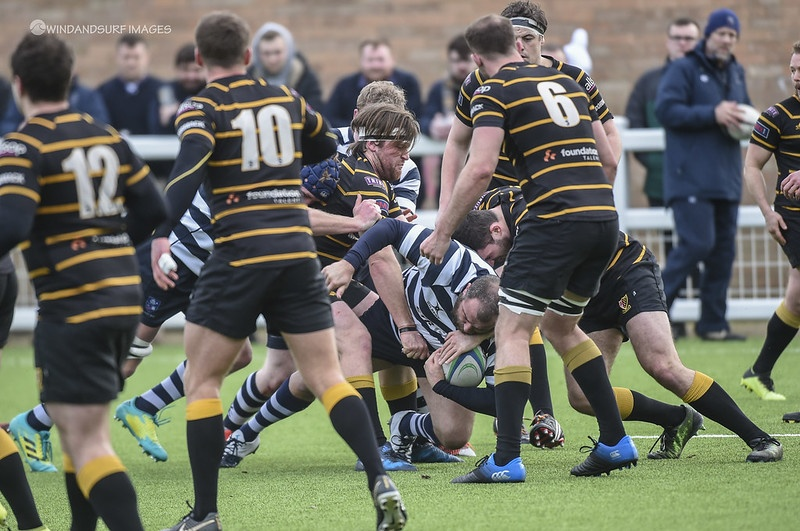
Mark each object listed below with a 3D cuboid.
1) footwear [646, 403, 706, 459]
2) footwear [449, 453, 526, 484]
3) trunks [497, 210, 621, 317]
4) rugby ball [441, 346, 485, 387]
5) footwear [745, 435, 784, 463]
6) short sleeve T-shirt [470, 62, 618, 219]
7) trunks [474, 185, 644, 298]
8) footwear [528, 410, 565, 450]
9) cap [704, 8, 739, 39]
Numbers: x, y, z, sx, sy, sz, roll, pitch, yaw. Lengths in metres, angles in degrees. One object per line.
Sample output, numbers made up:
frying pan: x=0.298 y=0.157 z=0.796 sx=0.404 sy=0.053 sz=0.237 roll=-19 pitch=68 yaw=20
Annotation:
footwear: x=1.764 y=1.067 z=7.349 sx=0.165 sy=0.338 sz=0.123 roll=40 pitch=4 yaw=-24
footwear: x=0.555 y=1.225 z=6.886 sx=0.490 sy=0.197 sz=0.166 roll=-2 pitch=-9 yaw=12
trunks: x=0.960 y=-0.001 z=6.845 sx=0.583 sy=0.500 sz=0.336 roll=6 pitch=12 yaw=-28
rugby ball: x=0.404 y=0.629 z=7.388 sx=0.245 sy=0.285 sz=0.247 roll=13 pitch=0 yaw=0
footwear: x=2.198 y=1.121 z=6.962 sx=0.110 sy=0.107 sz=0.253 roll=-11 pitch=-12 yaw=35
short sleeve T-shirt: x=0.850 y=-0.740 z=6.929 sx=0.883 sy=1.002 sz=0.437 roll=-14 pitch=-26 yaw=-43
trunks: x=0.985 y=0.019 z=7.118 sx=0.563 sy=0.835 sz=0.974 roll=14 pitch=19 yaw=30
footwear: x=0.996 y=1.103 z=7.489 sx=0.125 sy=0.205 sz=0.354 roll=-23 pitch=-33 yaw=20
cap: x=2.912 y=-2.189 z=10.436 sx=0.236 sy=0.215 sz=0.262 roll=1 pitch=22 yaw=-3
